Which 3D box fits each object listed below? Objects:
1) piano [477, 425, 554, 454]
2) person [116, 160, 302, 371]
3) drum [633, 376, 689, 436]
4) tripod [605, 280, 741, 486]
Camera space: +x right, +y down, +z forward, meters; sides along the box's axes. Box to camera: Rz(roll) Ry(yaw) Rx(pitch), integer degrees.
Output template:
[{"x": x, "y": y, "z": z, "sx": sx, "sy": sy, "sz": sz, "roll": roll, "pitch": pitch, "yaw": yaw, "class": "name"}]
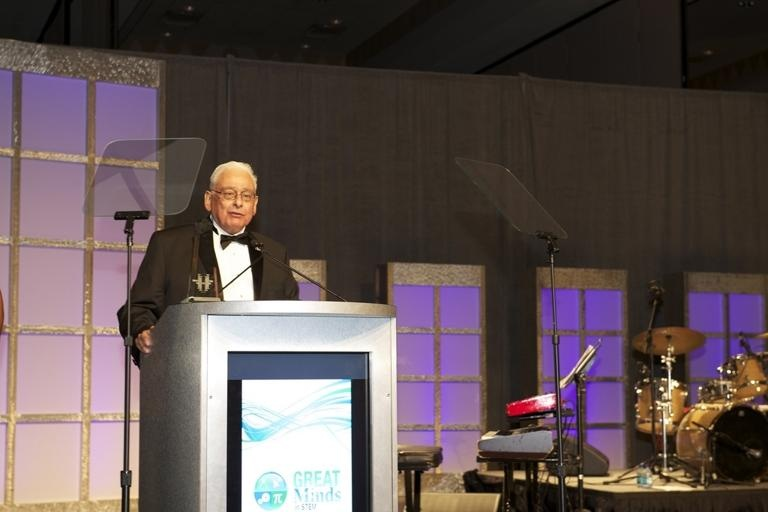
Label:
[{"x": 1.113, "y": 1.548, "z": 11.979, "sx": 0.644, "sy": 0.213, "sz": 0.198, "roll": -8, "pitch": -11, "yaw": 36, "class": "piano"}, {"x": -1.216, "y": 0.037, "z": 10.220, "sx": 1.263, "sy": 1.447, "sz": 0.540, "roll": 0, "pitch": -9, "yaw": -10, "class": "person"}, {"x": 2.485, "y": 1.363, "z": 13.121, "sx": 0.522, "sy": 0.391, "sz": 0.496, "roll": 5, "pitch": -21, "yaw": 2, "class": "drum"}, {"x": 2.656, "y": 1.128, "z": 13.072, "sx": 0.721, "sy": 1.914, "sz": 0.781, "roll": 3, "pitch": -1, "yaw": -15, "class": "tripod"}]
